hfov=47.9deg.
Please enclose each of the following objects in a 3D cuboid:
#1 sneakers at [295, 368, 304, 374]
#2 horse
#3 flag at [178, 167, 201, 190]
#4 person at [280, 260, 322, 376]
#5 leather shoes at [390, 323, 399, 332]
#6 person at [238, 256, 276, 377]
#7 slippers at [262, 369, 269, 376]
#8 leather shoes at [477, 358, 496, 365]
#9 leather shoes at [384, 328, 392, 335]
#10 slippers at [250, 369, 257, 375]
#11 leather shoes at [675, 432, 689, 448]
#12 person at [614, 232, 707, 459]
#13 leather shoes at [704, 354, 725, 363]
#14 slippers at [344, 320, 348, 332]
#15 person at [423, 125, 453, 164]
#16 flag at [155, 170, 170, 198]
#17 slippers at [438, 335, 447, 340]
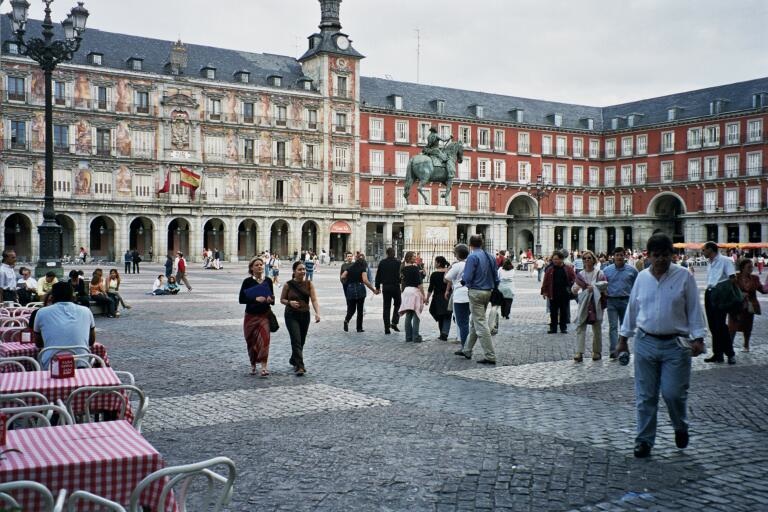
[{"bbox_3d":[-1.424,1.953,14.573,0.153,0.093,0.143,0,1,-5],"label":"sneakers"},{"bbox_3d":[1.824,-3.050,31.642,1.898,2.312,3.944,0,1,4],"label":"horse"},{"bbox_3d":[-13.591,-5.313,59.817,1.602,1.325,0.205,9,-11,-34],"label":"flag"},{"bbox_3d":[-1.492,1.048,15.229,0.659,1.895,1.533,0,1,-5],"label":"person"},{"bbox_3d":[0.292,1.670,19.685,0.270,0.088,0.180,26,16,-41],"label":"leather shoes"},{"bbox_3d":[-2.151,1.021,14.812,0.611,1.969,0.815,0,1,-7],"label":"person"},{"bbox_3d":[-2.013,1.974,14.544,0.108,0.074,0.274,-2,-3,-11],"label":"slippers"},{"bbox_3d":[1.849,1.919,15.644,0.331,0.140,0.123,6,6,29],"label":"leather shoes"},{"bbox_3d":[0.091,1.720,19.382,0.100,0.111,0.109,0,-2,29],"label":"leather shoes"},{"bbox_3d":[-2.235,1.977,14.692,0.121,0.118,0.076,-2,0,16],"label":"slippers"},{"bbox_3d":[3.835,2.378,11.110,0.144,0.235,0.229,-4,4,14],"label":"leather shoes"},{"bbox_3d":[3.591,1.136,11.119,1.001,2.844,0.618,1,1,14],"label":"person"},{"bbox_3d":[6.072,1.874,15.761,0.415,0.174,0.141,2,-2,11],"label":"leather shoes"},{"bbox_3d":[-0.864,1.609,19.542,0.076,0.232,0.093,-3,7,-3],"label":"slippers"},{"bbox_3d":[2.040,-3.872,30.629,0.885,1.447,0.986,3,9,37],"label":"person"},{"bbox_3d":[-15.222,-5.010,59.768,0.950,1.854,0.512,-1,2,-35],"label":"flag"},{"bbox_3d":[1.213,1.758,18.336,0.196,0.135,0.064,13,-18,-30],"label":"slippers"}]
